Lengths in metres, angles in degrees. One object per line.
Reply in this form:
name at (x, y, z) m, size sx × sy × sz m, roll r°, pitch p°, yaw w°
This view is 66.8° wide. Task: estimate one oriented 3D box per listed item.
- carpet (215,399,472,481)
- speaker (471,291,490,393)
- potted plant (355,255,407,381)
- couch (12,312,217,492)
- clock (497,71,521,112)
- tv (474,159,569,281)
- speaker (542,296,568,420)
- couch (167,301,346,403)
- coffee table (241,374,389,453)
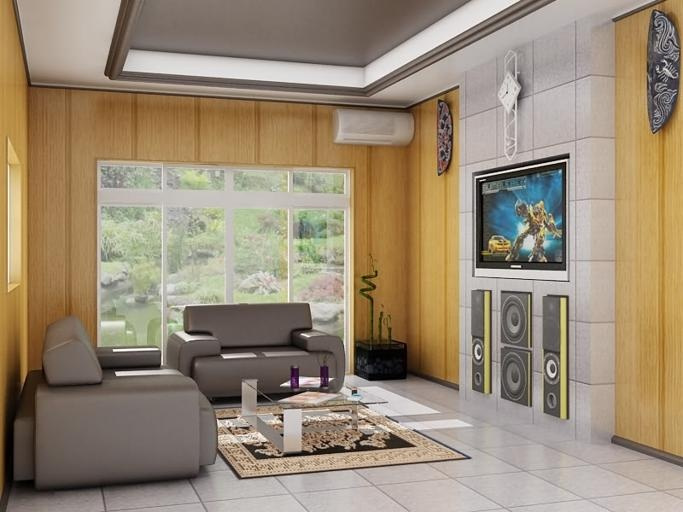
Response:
carpet at (-0.122, 1.666, 4.828) m, size 2.037 × 0.042 × 1.674 m, roll 1°, pitch -2°, yaw -13°
speaker at (1.608, 0.972, 5.997) m, size 0.092 × 1.171 × 0.321 m, roll 2°, pitch -2°, yaw -24°
potted plant at (0.557, 0.885, 7.733) m, size 0.714 × 1.771 × 0.755 m, roll 1°, pitch -2°, yaw -5°
couch at (-1.748, 1.074, 3.954) m, size 1.023 × 0.755 × 1.394 m, roll -1°, pitch -1°, yaw -20°
clock at (1.821, -1.778, 5.602) m, size 0.110 × 0.441 × 0.356 m, roll 1°, pitch -2°, yaw -19°
tv at (1.907, -0.360, 5.514) m, size 0.069 × 1.124 × 1.275 m, roll 0°, pitch -2°, yaw -25°
speaker at (2.058, 0.959, 5.001) m, size 0.098 × 1.148 × 0.307 m, roll 2°, pitch -2°, yaw -25°
couch at (-1.120, 1.428, 6.440) m, size 2.049 × 1.170 × 1.118 m, roll 1°, pitch -7°, yaw -22°
coffee table at (-0.493, 1.398, 4.736) m, size 0.726 × 0.343 × 0.776 m, roll 1°, pitch -1°, yaw -32°
